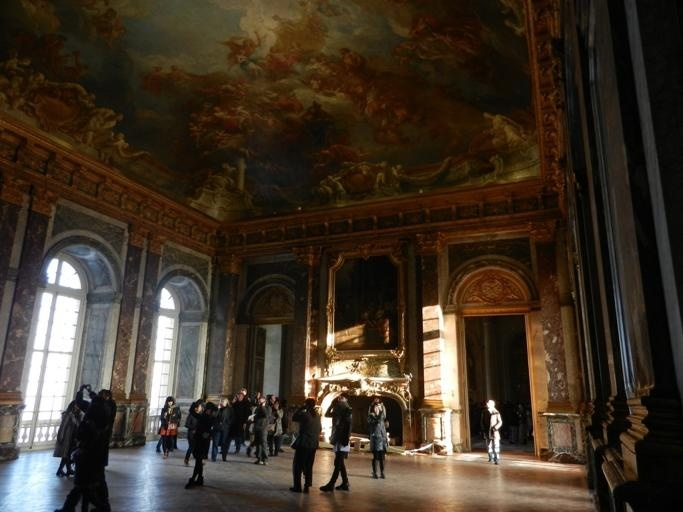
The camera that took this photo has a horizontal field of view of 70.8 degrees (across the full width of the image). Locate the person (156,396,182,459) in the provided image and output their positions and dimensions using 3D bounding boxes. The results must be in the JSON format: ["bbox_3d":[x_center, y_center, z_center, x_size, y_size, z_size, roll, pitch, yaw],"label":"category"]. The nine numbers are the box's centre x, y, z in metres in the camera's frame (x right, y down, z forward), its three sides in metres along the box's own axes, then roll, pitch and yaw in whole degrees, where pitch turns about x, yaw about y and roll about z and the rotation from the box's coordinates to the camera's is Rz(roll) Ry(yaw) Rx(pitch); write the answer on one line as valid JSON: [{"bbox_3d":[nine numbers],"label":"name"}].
[{"bbox_3d":[-4.844,4.734,13.436,0.524,1.537,2.189,8,-20,-18],"label":"person"}]

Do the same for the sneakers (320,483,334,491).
[{"bbox_3d":[-0.292,4.142,8.611,0.316,0.143,0.142,-11,-23,31],"label":"sneakers"}]

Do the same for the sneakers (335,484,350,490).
[{"bbox_3d":[0.015,4.285,8.920,0.237,0.096,0.278,1,-19,0],"label":"sneakers"}]

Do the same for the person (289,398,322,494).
[{"bbox_3d":[-0.663,3.435,8.761,0.477,1.576,1.012,3,-19,-4],"label":"person"}]

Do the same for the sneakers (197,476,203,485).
[{"bbox_3d":[-2.598,4.148,8.850,0.134,0.091,0.125,2,3,7],"label":"sneakers"}]

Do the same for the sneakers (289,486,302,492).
[{"bbox_3d":[-0.835,4.143,8.533,0.264,0.085,0.160,-4,-20,15],"label":"sneakers"}]

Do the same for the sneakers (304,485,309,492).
[{"bbox_3d":[-0.625,4.174,8.573,0.127,0.123,0.070,1,-6,-2],"label":"sneakers"}]

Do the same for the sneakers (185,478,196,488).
[{"bbox_3d":[-2.721,4.081,8.645,0.143,0.251,0.128,2,-13,0],"label":"sneakers"}]

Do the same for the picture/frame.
[{"bbox_3d":[0.902,1.641,16.476,3.915,5.089,0.242,-5,-20,16],"label":"picture/frame"}]
